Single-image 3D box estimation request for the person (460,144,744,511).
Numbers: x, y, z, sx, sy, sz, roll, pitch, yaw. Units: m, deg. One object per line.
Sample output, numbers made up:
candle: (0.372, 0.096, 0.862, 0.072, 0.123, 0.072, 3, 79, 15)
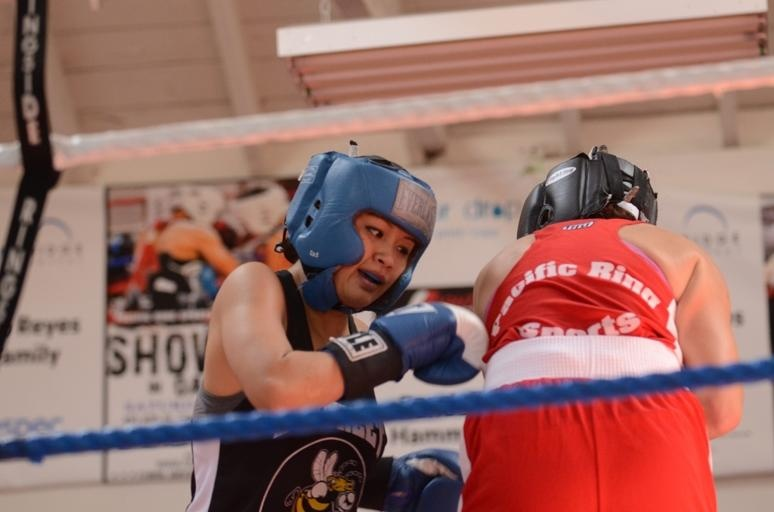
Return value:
person: (0.729, 0.237, 3.179, 1.021, 1.308, 0.505, -5, -7, 3)
